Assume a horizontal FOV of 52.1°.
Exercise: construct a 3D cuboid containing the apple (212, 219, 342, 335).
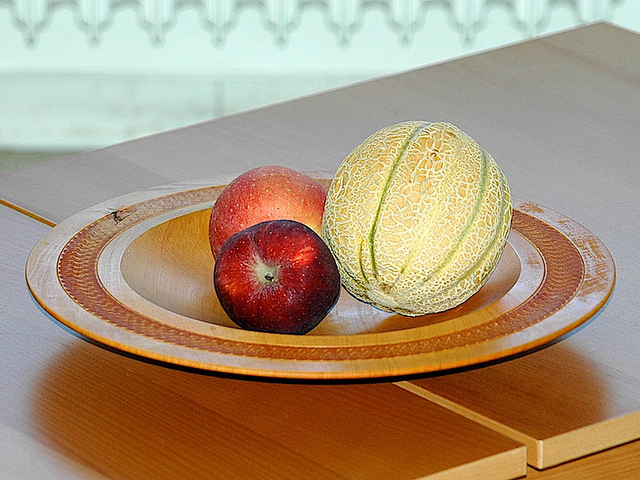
[{"bbox_3d":[-0.041,0.034,0.521,0.104,0.087,0.095,3,5,-11],"label":"apple"}]
